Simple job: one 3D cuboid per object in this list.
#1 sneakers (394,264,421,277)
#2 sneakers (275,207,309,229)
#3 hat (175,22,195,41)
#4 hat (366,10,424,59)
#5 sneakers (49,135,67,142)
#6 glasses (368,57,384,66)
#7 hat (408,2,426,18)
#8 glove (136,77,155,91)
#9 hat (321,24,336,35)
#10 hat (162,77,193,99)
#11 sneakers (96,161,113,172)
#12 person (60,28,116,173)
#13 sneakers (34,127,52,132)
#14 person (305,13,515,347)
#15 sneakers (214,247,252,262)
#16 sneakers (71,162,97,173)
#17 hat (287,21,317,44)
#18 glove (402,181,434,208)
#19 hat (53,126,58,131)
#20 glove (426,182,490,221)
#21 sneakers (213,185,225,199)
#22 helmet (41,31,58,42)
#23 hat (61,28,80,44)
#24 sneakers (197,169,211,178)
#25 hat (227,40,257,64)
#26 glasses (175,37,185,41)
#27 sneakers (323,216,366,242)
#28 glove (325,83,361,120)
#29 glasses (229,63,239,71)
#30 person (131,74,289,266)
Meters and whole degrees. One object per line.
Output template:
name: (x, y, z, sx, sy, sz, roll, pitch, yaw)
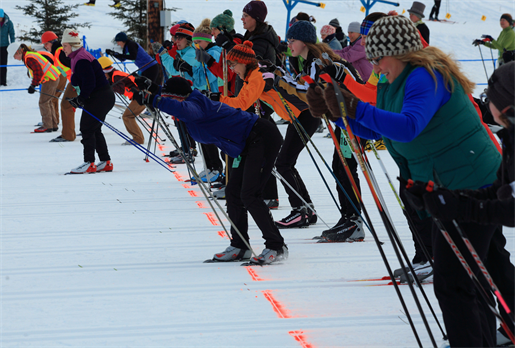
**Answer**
sneakers: (1.097, 0.737, 5.336, 0.277, 0.073, 0.195, -2, -4, -39)
sneakers: (0.340, 0.419, 6.596, 0.435, 0.230, 0.136, 1, 1, -2)
hat: (-0.900, -1.750, 8.496, 0.252, 0.166, 0.164, 22, 10, -29)
hat: (0.801, -0.861, 4.381, 0.326, 0.218, 0.295, -19, 14, -6)
sneakers: (-3.162, -0.570, 11.069, 0.302, 0.107, 0.090, 1, 3, -11)
glasses: (0.732, -0.709, 4.389, 0.056, 0.017, 0.043, -38, 28, -32)
hat: (2.204, -2.268, 9.747, 0.276, 0.132, 0.264, 21, 10, 6)
glove: (-0.847, -0.677, 5.208, 0.135, 0.053, 0.105, 24, 24, 0)
hat: (1.009, -2.106, 10.205, 0.268, 0.125, 0.232, -2, 22, -4)
hat: (-0.621, -0.648, 5.308, 0.233, 0.130, 0.135, 5, 38, -18)
sneakers: (-1.958, -0.097, 8.937, 0.277, 0.101, 0.083, 1, 42, 6)
person: (-2.103, -0.881, 8.762, 0.599, 1.766, 0.724, -3, 24, -13)
sneakers: (-3.681, -0.752, 11.942, 0.276, 0.085, 0.105, 2, 3, -21)
person: (1.057, 0.005, 4.325, 0.773, 1.843, 1.363, -18, 29, -39)
sneakers: (-0.206, 0.657, 5.722, 0.324, 0.107, 0.111, 2, 1, -11)
sneakers: (-2.173, -0.075, 8.784, 0.364, 0.124, 0.115, 0, 16, -13)
hat: (0.379, -1.282, 6.279, 0.237, 0.140, 0.238, 16, 24, 36)
glove: (0.875, 0.104, 3.861, 0.143, 0.155, 0.075, 0, 28, 38)
hat: (-3.546, -0.780, 12.221, 0.077, 0.052, 0.053, 7, 4, 11)
glove: (1.056, 0.189, 3.821, 0.239, 0.199, 0.216, -6, 23, -21)
sneakers: (-0.436, 0.198, 7.552, 0.113, 0.109, 0.280, -2, 6, -20)
helmet: (-3.421, -2.269, 11.528, 0.258, 0.130, 0.187, -24, 24, -27)
hat: (-2.329, -1.719, 8.679, 0.262, 0.159, 0.191, -3, 10, -11)
sneakers: (-0.643, -0.012, 8.345, 0.152, 0.094, 0.345, -9, 3, 3)
hat: (-0.135, -0.987, 5.773, 0.233, 0.162, 0.108, -9, 25, -28)
glasses: (-0.967, -1.664, 8.558, 0.140, 0.037, 0.136, -5, 8, -44)
sneakers: (0.784, 0.505, 6.147, 0.509, 0.243, 0.154, 1, 4, -7)
glove: (0.490, -0.443, 4.266, 0.241, 0.083, 0.173, 37, -16, 15)
glasses: (-0.217, -0.907, 5.921, 0.084, 0.049, 0.177, 12, 1, -1)
person: (-0.292, -0.040, 5.557, 1.121, 1.478, 0.595, 3, 23, 1)
